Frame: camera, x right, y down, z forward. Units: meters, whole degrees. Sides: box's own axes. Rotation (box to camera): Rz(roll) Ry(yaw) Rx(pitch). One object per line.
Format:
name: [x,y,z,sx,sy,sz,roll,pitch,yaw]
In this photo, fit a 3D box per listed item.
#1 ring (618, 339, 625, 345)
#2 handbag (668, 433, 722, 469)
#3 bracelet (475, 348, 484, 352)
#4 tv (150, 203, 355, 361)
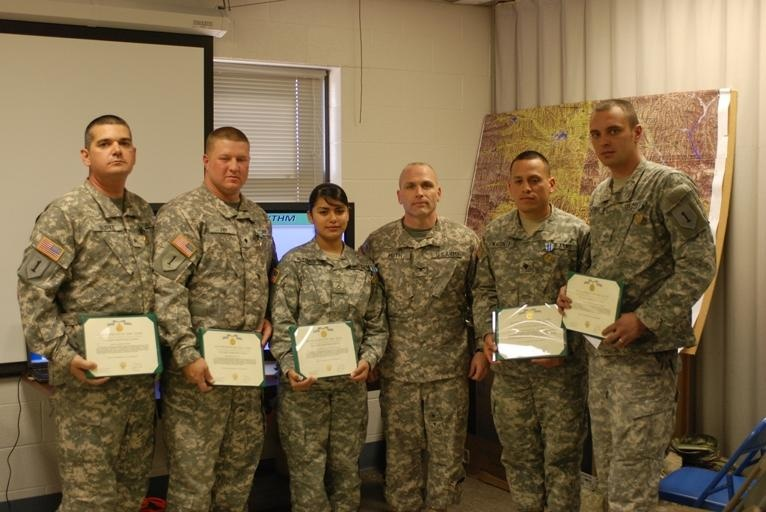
ring: [1.156,0.417,3.112,0.029,0.026,0.007,1,-13,2]
handbag: [1.951,1.216,4.048,0.233,0.103,0.283,-7,12,-39]
bracelet: [0.565,0.555,3.746,0.032,0.029,0.023,0,-20,-5]
tv: [-0.718,0.163,3.429,0.986,0.744,0.045,0,-4,-1]
